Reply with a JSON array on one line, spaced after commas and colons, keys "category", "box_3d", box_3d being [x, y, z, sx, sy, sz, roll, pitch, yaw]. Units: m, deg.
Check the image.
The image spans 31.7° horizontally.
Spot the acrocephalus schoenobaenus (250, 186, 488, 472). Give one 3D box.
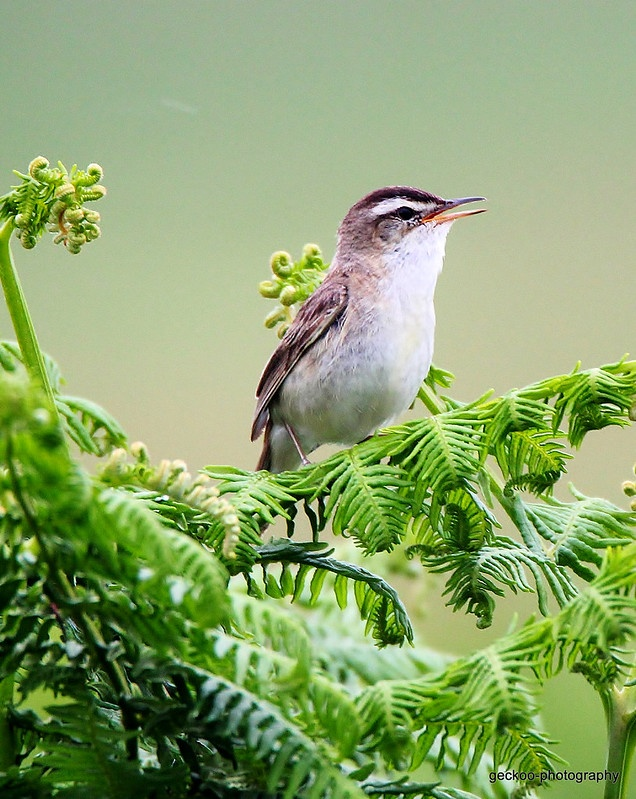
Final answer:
[{"category": "acrocephalus schoenobaenus", "box_3d": [0.065, -0.114, 2.163, 0.296, 0.549, 0.618, 11, -15, -42]}]
